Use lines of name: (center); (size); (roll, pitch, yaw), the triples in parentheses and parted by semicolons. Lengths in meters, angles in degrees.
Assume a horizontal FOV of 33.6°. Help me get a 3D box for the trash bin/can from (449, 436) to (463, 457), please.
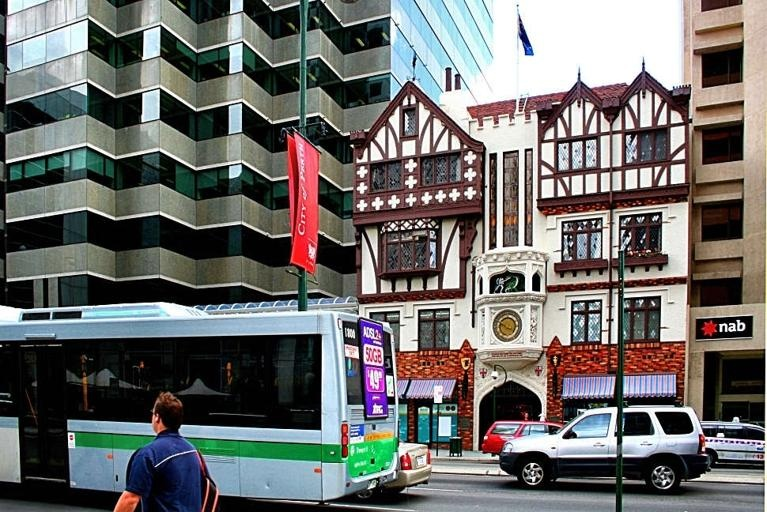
trash bin/can: (3.671, 9.608, 65.158); (0.782, 1.269, 0.849); (-1, -2, 0)

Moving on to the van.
van: (9.504, 7.851, 54.768); (7.822, 3.495, 3.959); (0, -11, 11)
